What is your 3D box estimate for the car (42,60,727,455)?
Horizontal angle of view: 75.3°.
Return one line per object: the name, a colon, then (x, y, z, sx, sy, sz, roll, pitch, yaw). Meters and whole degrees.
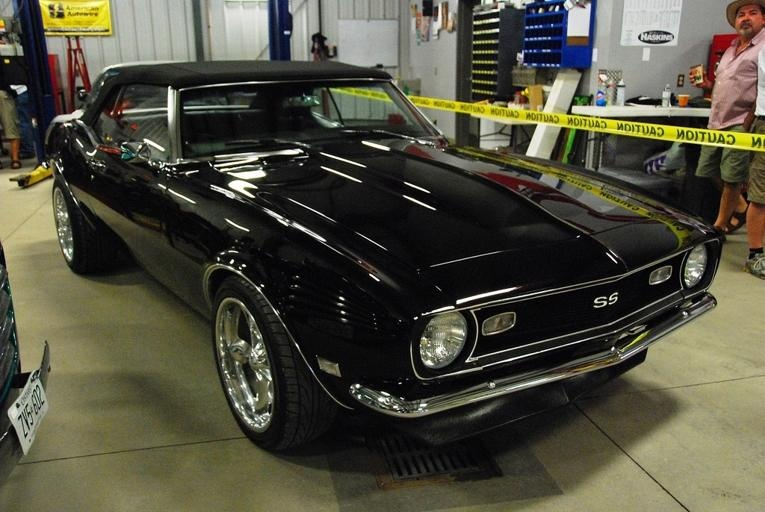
car: (-0.676, -0.135, 3.453, 2.203, 1.283, 4.067, -13, 28, -35)
